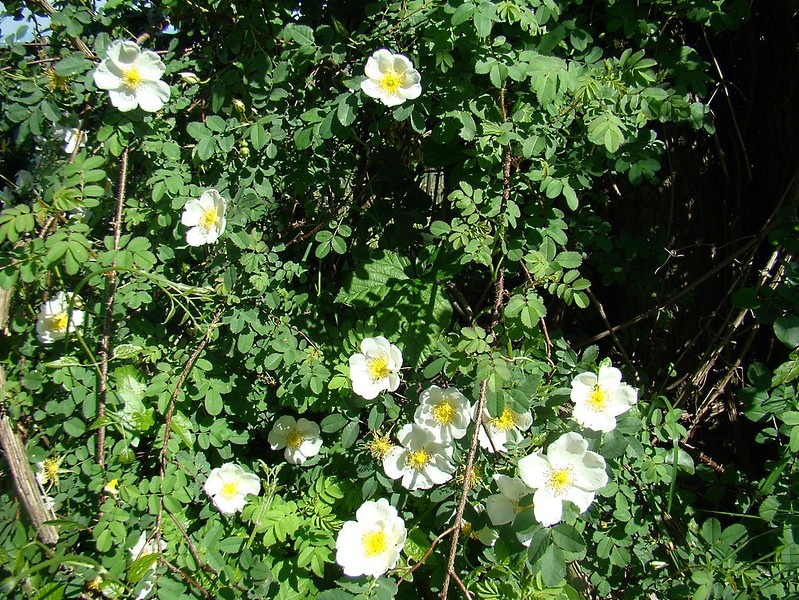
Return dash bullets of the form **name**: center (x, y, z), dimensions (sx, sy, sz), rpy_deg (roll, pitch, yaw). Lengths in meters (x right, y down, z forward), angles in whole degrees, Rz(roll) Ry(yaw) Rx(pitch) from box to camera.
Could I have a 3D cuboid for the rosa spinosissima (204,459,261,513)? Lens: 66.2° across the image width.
- **rosa spinosissima**: center (-0.609, 0.649, 2.177), dimensions (0.212, 0.084, 0.222), rpy_deg (-12, 16, 12)
